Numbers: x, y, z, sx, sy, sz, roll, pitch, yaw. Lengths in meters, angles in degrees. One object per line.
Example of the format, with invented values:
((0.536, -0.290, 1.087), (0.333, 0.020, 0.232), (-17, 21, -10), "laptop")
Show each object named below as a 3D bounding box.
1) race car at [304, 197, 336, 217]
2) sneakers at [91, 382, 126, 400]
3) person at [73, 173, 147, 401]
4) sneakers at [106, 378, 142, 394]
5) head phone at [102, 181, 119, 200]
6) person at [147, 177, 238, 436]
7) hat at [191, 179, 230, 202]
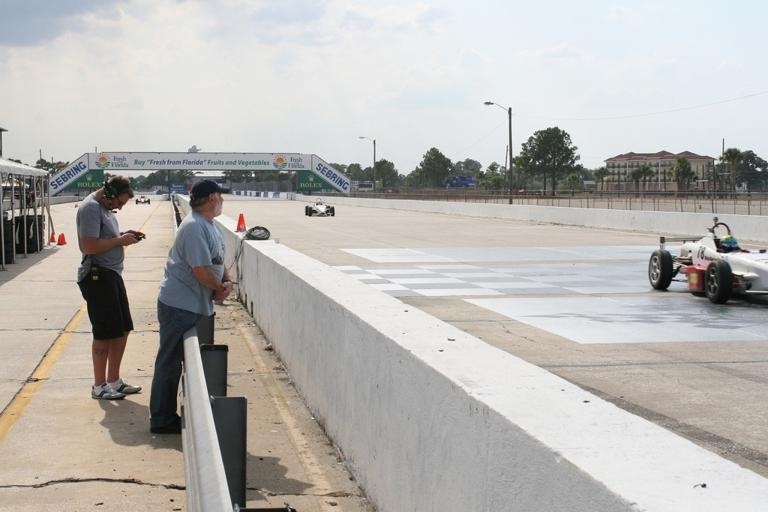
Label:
((-4.106, -2.897, 53.497), (1.277, 0.745, 2.316), (1, 11, -8), "race car")
((-3.164, 1.524, 9.817), (0.397, 0.151, 0.152), (3, 2, 9), "sneakers")
((-3.112, 0.350, 9.797), (0.701, 2.495, 0.604), (-3, 8, -16), "person")
((-3.007, 1.484, 9.941), (0.384, 0.145, 0.131), (5, 9, -17), "sneakers")
((-3.054, -0.744, 9.629), (0.167, 0.171, 0.224), (-17, -2, -39), "head phone")
((-1.975, 0.534, 8.666), (0.855, 2.565, 0.488), (-3, 8, -16), "person")
((-1.756, -0.671, 8.764), (0.432, 0.217, 0.271), (-12, 13, -37), "hat")
